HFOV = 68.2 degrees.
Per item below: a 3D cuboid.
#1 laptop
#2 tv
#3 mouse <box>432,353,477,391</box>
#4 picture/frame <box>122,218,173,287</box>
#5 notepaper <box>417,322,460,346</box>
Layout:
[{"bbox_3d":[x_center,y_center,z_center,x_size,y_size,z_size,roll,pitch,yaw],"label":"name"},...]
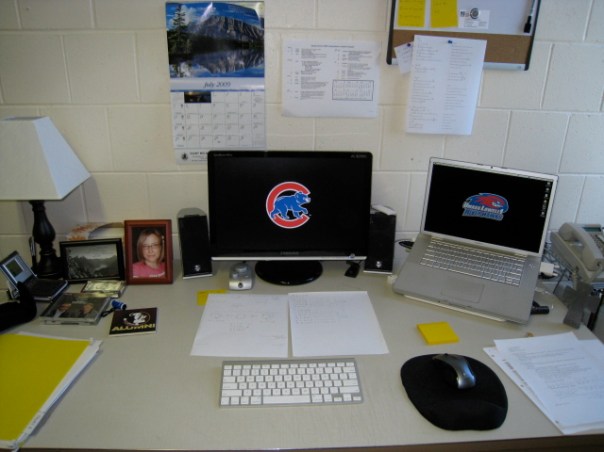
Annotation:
[{"bbox_3d":[0.640,0.075,1.671,0.560,0.391,0.580,14,54,17],"label":"laptop"},{"bbox_3d":[-0.053,-0.045,1.659,0.473,0.406,0.198,0,13,-2],"label":"tv"},{"bbox_3d":[0.439,0.408,1.305,0.090,0.051,0.156,-4,18,-12],"label":"mouse"},{"bbox_3d":[-0.575,0.103,1.660,0.238,0.332,0.033,0,6,-5],"label":"picture/frame"},{"bbox_3d":[0.438,0.347,1.440,0.070,0.016,0.075,-3,25,-9],"label":"notepaper"}]
